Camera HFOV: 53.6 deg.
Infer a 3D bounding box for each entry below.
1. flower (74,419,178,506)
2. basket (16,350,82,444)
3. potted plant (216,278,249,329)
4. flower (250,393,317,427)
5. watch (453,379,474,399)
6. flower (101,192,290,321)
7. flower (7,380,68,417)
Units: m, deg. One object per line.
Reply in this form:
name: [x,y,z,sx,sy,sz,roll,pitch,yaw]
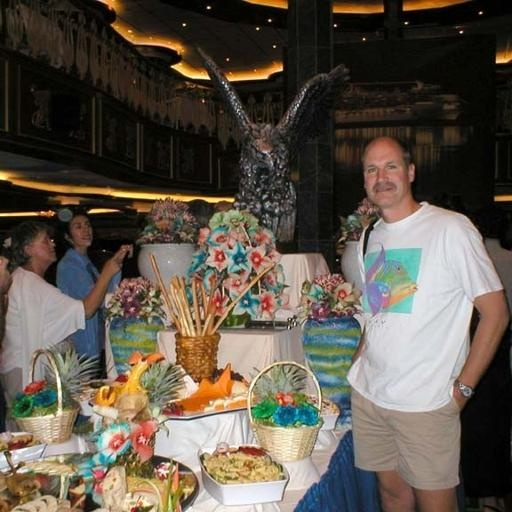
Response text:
flower: [-0.274,0.422,1.128,0.200,0.174,0.275,-7,-15,-11]
basket: [-0.667,0.437,1.591,0.190,0.313,0.224,-5,1,-7]
potted plant: [-0.090,0.209,2.043,0.139,0.167,0.421,-5,0,-1]
flower: [0.084,0.444,1.456,0.198,0.091,0.109,-4,0,5]
watch: [0.623,0.398,1.521,0.034,0.059,0.055,-45,18,-10]
flower: [-0.222,0.065,2.328,0.704,0.452,0.571,15,9,-8]
flower: [-0.688,0.457,1.608,0.177,0.069,0.167,-2,11,-34]
